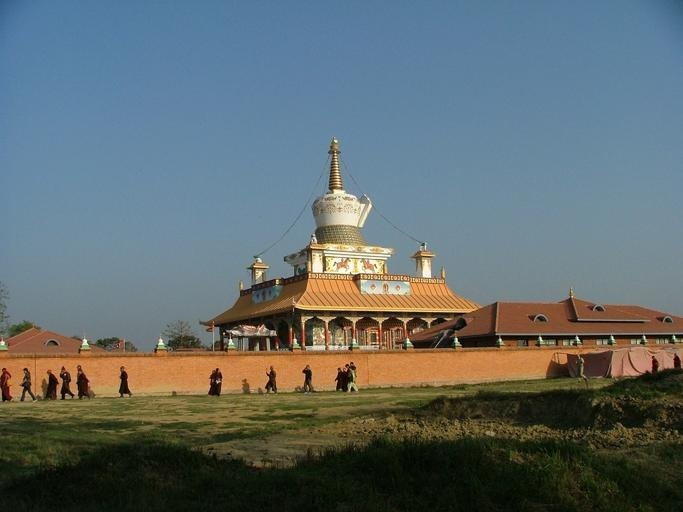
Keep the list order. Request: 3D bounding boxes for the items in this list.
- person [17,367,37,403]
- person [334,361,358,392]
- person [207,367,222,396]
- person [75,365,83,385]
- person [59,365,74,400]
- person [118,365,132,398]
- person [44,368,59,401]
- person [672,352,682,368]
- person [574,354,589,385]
[{"bbox_3d":[-12.050,4.959,34.476,0.592,1.336,1.181,4,-13,-19],"label":"person"},{"bbox_3d":[0.244,5.424,39.455,0.777,1.206,1.280,9,-14,-35],"label":"person"},{"bbox_3d":[-5.239,5.278,37.176,0.544,1.202,1.404,2,-12,-8],"label":"person"},{"bbox_3d":[-10.374,4.733,35.371,0.259,0.802,0.820,4,-12,-18],"label":"person"},{"bbox_3d":[-10.771,5.010,35.075,0.612,1.321,1.151,4,-12,-17],"label":"person"},{"bbox_3d":[-8.697,5.080,36.012,0.532,1.250,1.232,3,-12,-14],"label":"person"},{"bbox_3d":[-11.249,5.037,34.674,0.523,1.197,1.348,4,-12,-17],"label":"person"},{"bbox_3d":[15.626,4.813,41.362,0.336,0.619,0.966,-4,-12,20],"label":"person"},{"bbox_3d":[11.395,5.282,42.136,0.515,1.315,2.439,-3,-12,14],"label":"person"}]
